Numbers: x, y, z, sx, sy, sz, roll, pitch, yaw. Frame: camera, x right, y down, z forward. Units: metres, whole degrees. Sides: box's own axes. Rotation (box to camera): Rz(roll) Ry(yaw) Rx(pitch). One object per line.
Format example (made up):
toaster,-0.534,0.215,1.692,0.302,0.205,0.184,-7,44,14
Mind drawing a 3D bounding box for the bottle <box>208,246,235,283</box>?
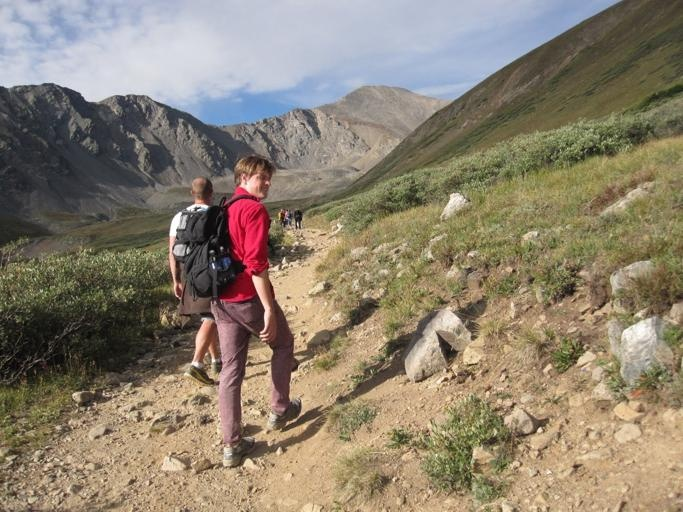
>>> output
bottle,-1.843,0.137,7.818,0.360,0.521,0.294,-18,7,18
